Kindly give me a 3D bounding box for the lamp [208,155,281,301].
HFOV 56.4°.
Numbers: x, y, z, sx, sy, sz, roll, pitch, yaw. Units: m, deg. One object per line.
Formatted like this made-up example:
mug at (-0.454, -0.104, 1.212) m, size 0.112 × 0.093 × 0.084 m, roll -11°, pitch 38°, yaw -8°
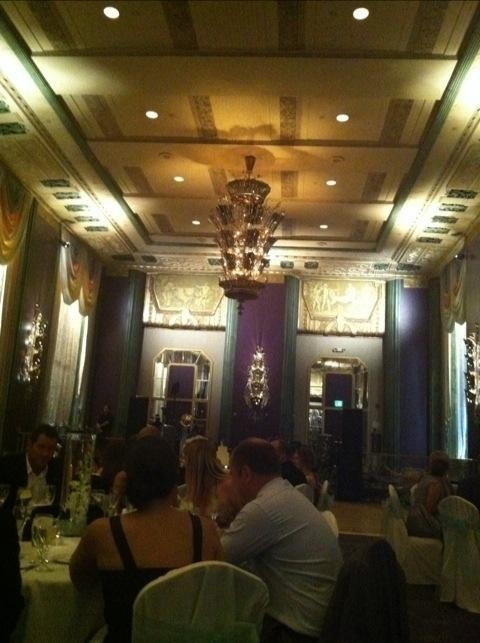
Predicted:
lamp at (0.107, -1.479, 7.670) m, size 1.124 × 2.429 × 1.617 m, roll 2°, pitch -11°, yaw 4°
